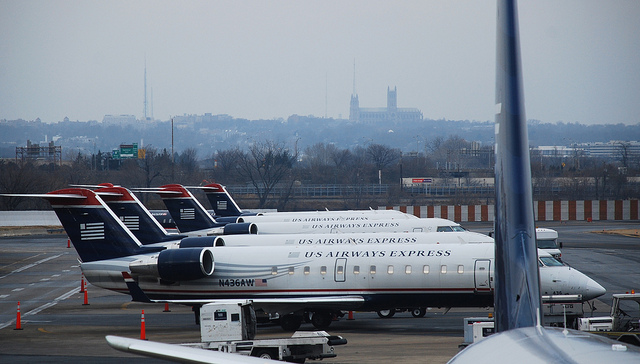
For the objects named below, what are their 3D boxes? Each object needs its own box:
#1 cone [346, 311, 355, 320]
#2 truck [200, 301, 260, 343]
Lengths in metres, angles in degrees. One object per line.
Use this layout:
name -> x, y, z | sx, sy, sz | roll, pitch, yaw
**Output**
cone -> 3.337, 14.997, 113.511 | 0.753, 0.902, 0.779 | -1, 3, 4
truck -> -10.874, 15.218, 107.320 | 6.577, 4.276, 4.146 | 2, -17, -28
